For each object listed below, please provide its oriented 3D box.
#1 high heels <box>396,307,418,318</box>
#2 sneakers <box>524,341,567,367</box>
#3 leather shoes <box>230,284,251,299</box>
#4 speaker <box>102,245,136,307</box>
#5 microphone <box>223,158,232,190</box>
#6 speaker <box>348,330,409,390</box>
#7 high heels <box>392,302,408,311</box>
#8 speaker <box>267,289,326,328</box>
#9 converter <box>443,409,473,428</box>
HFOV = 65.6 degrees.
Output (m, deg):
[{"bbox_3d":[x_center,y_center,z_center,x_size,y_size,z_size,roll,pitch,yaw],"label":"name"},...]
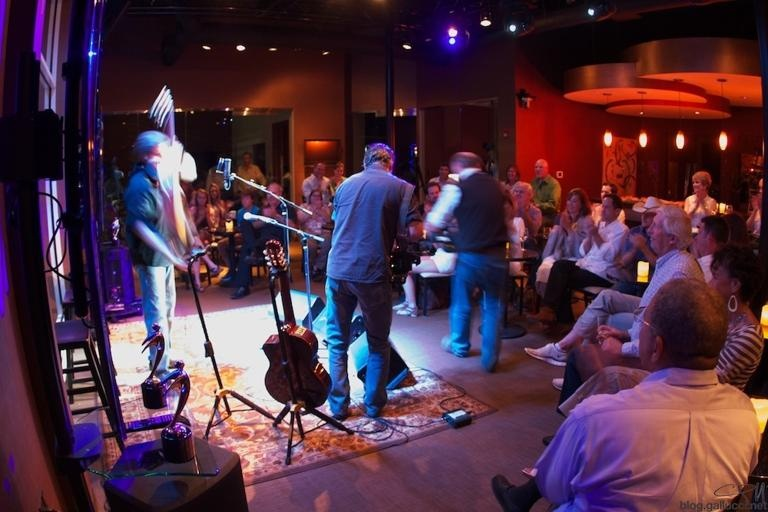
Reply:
[{"bbox_3d":[0.285,0.673,7.218,0.188,0.080,0.124,3,1,27],"label":"high heels"},{"bbox_3d":[1.565,0.923,5.717,0.394,0.170,0.157,9,10,32],"label":"sneakers"},{"bbox_3d":[-1.966,0.494,8.182,0.114,0.123,0.316,-1,-5,14],"label":"leather shoes"},{"bbox_3d":[-2.185,0.185,4.902,0.223,0.556,0.443,-8,8,-25],"label":"speaker"},{"bbox_3d":[-1.273,-0.678,4.834,0.057,0.238,0.237,-7,8,-14],"label":"microphone"},{"bbox_3d":[-0.070,0.877,4.953,0.273,0.272,0.492,-37,11,-8],"label":"speaker"},{"bbox_3d":[0.196,0.622,7.443,0.165,0.058,0.087,-4,5,-32],"label":"high heels"},{"bbox_3d":[-0.846,0.524,6.320,0.403,0.313,0.560,1,-4,-42],"label":"speaker"},{"bbox_3d":[0.566,1.227,4.531,0.164,0.049,0.112,-1,4,-34],"label":"converter"}]
